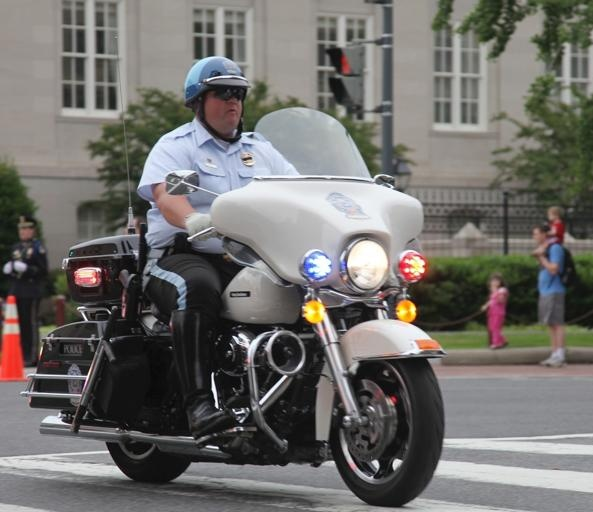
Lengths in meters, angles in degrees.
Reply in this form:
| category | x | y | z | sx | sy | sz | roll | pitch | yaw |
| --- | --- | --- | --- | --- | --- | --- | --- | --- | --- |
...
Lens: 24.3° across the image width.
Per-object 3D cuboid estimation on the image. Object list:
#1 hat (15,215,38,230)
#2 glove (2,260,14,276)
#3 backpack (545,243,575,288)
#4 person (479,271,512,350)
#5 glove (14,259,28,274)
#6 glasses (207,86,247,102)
| category | x | y | z | sx | sy | sz | roll | pitch | yaw |
| --- | --- | --- | --- | --- | --- | --- | --- | --- | --- |
| hat | -3.577 | -0.445 | 18.179 | 0.324 | 0.112 | 0.309 | 4 | -5 | -7 |
| glove | -3.624 | 0.149 | 17.326 | 0.227 | 0.169 | 0.057 | 1 | 10 | -26 |
| backpack | 3.224 | 0.134 | 16.405 | 0.274 | 0.488 | 0.350 | 1 | 3 | 45 |
| person | 2.594 | 0.693 | 17.791 | 0.334 | 0.948 | 0.523 | -1 | 2 | 8 |
| glove | -3.437 | 0.125 | 17.180 | 0.191 | 0.139 | 0.051 | 15 | 7 | 8 |
| glasses | -0.444 | -1.046 | 8.808 | 0.128 | 0.041 | 0.139 | 1 | -11 | -29 |
